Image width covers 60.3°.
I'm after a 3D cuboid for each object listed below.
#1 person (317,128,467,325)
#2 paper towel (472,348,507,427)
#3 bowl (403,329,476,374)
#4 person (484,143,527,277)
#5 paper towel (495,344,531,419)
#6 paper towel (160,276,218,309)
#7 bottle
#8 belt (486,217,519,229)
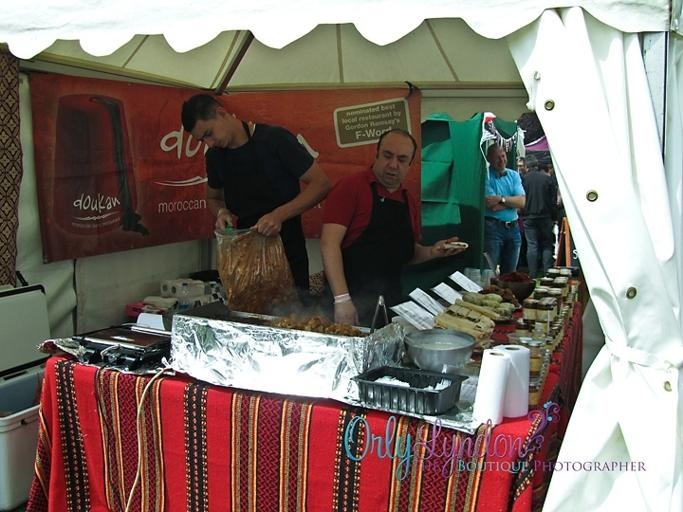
[{"bbox_3d":[0.187,-0.159,3.757,0.757,1.368,0.715,-4,15,-43],"label":"person"},{"bbox_3d":[0.531,0.474,2.137,0.078,0.248,0.127,5,8,31],"label":"paper towel"},{"bbox_3d":[0.413,0.377,2.476,0.299,0.142,0.381,1,2,21],"label":"bowl"},{"bbox_3d":[1.887,-0.553,6.858,0.500,1.490,0.406,1,5,2],"label":"person"},{"bbox_3d":[0.638,0.466,2.202,0.116,0.244,0.143,6,10,22],"label":"paper towel"},{"bbox_3d":[-1.171,0.226,4.576,0.315,0.169,0.454,2,0,20],"label":"paper towel"},{"bbox_3d":[0.731,0.446,2.315,0.137,0.247,0.167,6,11,24],"label":"bottle"},{"bbox_3d":[1.856,-0.391,6.791,0.398,0.146,0.077,0,5,-10],"label":"belt"}]
